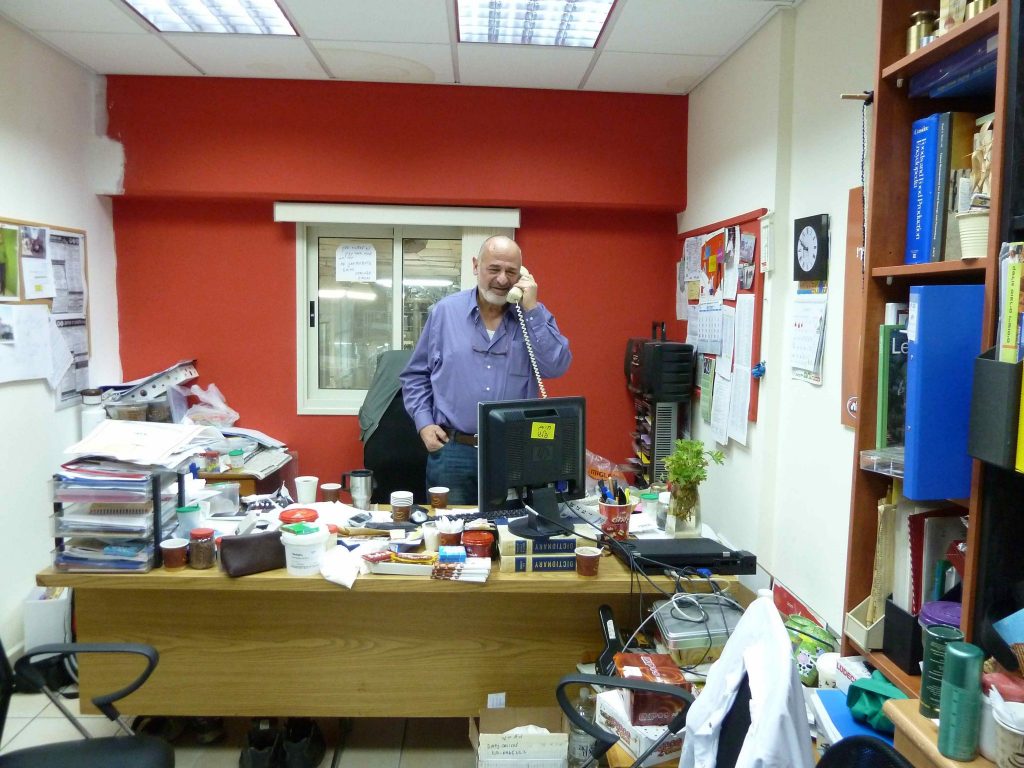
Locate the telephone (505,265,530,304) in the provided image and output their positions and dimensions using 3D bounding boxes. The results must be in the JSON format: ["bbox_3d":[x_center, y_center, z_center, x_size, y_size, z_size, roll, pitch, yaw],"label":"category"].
[{"bbox_3d":[0.020,-0.417,3.509,0.051,0.037,0.162,10,35,9],"label":"telephone"}]

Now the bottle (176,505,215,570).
[{"bbox_3d":[-1.123,0.545,2.955,0.129,0.223,0.224,-1,-1,-15],"label":"bottle"}]

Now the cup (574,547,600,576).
[{"bbox_3d":[0.263,0.615,2.874,0.087,0.090,0.100,-2,3,5],"label":"cup"}]

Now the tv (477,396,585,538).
[{"bbox_3d":[0.067,0.301,2.978,0.433,0.479,0.181,-3,11,-20],"label":"tv"}]

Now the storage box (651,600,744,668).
[{"bbox_3d":[0.615,0.801,2.708,0.204,0.081,0.219,-3,9,-5],"label":"storage box"}]

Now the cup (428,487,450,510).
[{"bbox_3d":[-0.296,0.457,3.328,0.079,0.062,0.081,2,13,0],"label":"cup"}]

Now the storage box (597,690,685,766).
[{"bbox_3d":[0.365,1.040,2.483,0.203,0.078,0.203,-2,7,-29],"label":"storage box"}]

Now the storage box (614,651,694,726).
[{"bbox_3d":[0.431,0.948,2.574,0.232,0.111,0.313,0,0,-11],"label":"storage box"}]

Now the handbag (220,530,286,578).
[{"bbox_3d":[-0.894,0.587,2.843,0.208,0.140,0.063,-3,3,-21],"label":"handbag"}]

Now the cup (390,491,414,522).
[{"bbox_3d":[-0.423,0.474,3.227,0.093,0.142,0.095,0,26,0],"label":"cup"}]

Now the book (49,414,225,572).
[{"bbox_3d":[-1.369,0.384,3.075,0.422,0.440,0.522,2,8,-2],"label":"book"}]

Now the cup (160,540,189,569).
[{"bbox_3d":[-1.174,0.592,2.865,0.089,0.077,0.087,-1,2,0],"label":"cup"}]

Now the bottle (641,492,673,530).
[{"bbox_3d":[0.555,0.481,3.185,0.112,0.211,0.121,-1,5,0],"label":"bottle"}]

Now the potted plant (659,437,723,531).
[{"bbox_3d":[0.647,0.397,3.052,0.207,0.305,0.238,4,-10,-7],"label":"potted plant"}]

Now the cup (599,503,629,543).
[{"bbox_3d":[0.375,0.496,2.983,0.118,0.112,0.104,-2,-1,16],"label":"cup"}]

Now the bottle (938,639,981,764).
[{"bbox_3d":[1.051,0.746,1.930,0.091,0.267,0.041,-2,3,-6],"label":"bottle"}]

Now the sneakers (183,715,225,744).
[{"bbox_3d":[-1.209,1.368,3.259,0.132,0.132,0.086,5,0,42],"label":"sneakers"}]
